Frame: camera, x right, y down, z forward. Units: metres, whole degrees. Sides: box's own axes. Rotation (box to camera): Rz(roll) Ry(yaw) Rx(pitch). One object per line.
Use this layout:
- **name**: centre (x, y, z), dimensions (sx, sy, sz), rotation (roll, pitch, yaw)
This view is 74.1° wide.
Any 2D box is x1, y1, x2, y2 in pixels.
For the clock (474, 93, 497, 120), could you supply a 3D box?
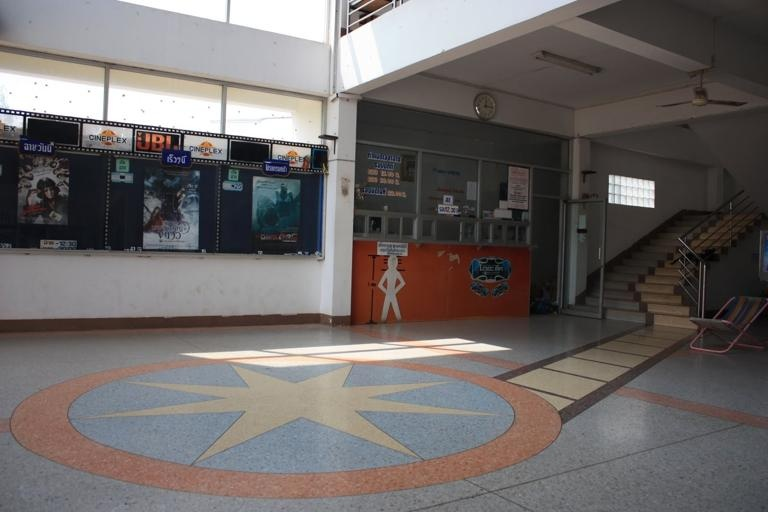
- **clock**: centre (2.146, -3.199, 10.791), dimensions (0.628, 0.568, 0.111), rotation (-2, 7, -37)
